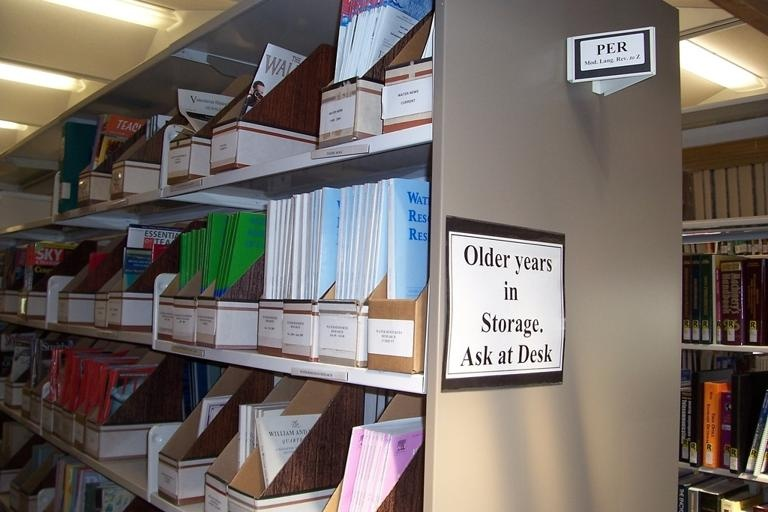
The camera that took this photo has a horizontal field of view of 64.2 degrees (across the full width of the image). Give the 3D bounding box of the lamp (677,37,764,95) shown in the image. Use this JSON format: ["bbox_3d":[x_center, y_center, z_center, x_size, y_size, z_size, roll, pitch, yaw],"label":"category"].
[{"bbox_3d":[2.512,-1.458,4.578,0.827,0.067,0.253,17,-36,-35],"label":"lamp"}]
